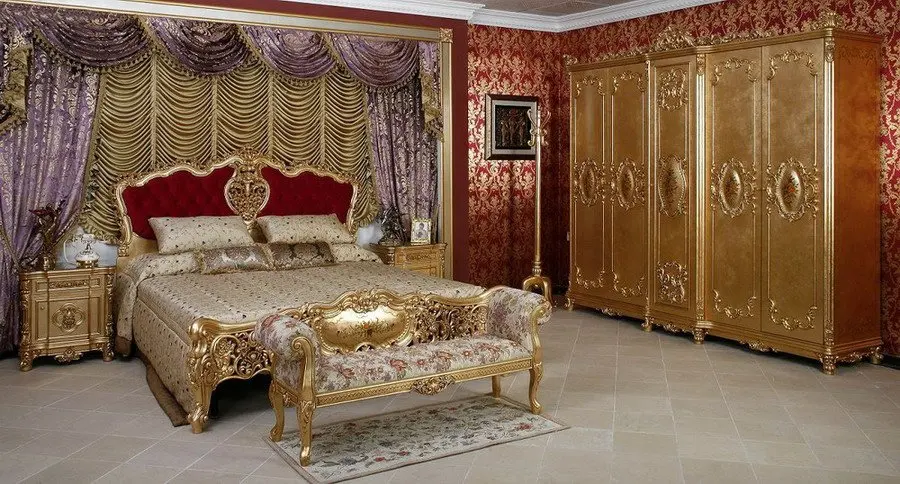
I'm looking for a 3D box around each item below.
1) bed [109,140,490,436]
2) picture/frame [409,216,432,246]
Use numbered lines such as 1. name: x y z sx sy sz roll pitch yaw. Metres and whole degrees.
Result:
1. bed: -1.851 0.278 7.457 3.672 2.143 3.540 -10 19 -43
2. picture/frame: -0.429 -0.140 8.899 0.460 0.511 0.068 1 -7 -10
